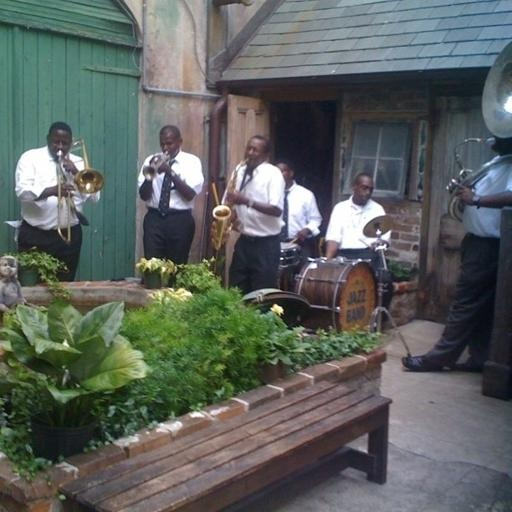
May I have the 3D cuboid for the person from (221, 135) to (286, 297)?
[{"bbox_3d":[-0.018,-0.312,5.489,0.464,1.691,0.483,1,1,42],"label":"person"}]

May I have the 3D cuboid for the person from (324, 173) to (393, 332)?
[{"bbox_3d":[1.151,-0.154,6.727,0.615,1.756,0.682,7,14,9],"label":"person"}]

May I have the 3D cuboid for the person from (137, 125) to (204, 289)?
[{"bbox_3d":[-0.921,-0.590,6.032,0.478,1.706,0.498,-3,15,-30],"label":"person"}]

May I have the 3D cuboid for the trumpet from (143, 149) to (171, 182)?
[{"bbox_3d":[-1.002,-0.890,5.723,0.168,0.300,0.083,24,31,-36],"label":"trumpet"}]

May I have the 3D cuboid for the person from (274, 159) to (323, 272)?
[{"bbox_3d":[0.572,-0.551,7.386,0.422,1.383,0.475,3,13,-7],"label":"person"}]

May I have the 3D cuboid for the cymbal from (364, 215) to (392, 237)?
[{"bbox_3d":[1.258,-0.311,5.970,0.386,0.174,0.163,8,9,-39],"label":"cymbal"}]

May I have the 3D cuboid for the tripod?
[{"bbox_3d":[1.382,0.370,6.103,0.396,1.523,0.475,0,15,-23],"label":"tripod"}]

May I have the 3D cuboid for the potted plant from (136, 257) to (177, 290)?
[{"bbox_3d":[-0.885,0.113,5.061,0.270,0.298,0.286,12,14,41],"label":"potted plant"}]
